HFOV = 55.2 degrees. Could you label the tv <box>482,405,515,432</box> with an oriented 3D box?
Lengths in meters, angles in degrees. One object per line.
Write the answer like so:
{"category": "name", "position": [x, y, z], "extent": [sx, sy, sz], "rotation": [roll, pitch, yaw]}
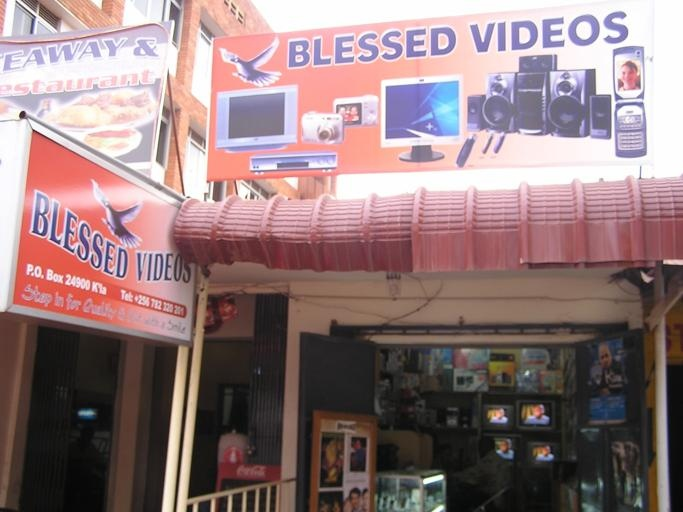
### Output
{"category": "tv", "position": [3.790, 3.906, 15.813], "extent": [0.823, 0.754, 0.501], "rotation": [-1, -19, 13]}

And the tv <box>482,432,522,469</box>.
{"category": "tv", "position": [3.805, 4.652, 15.548], "extent": [0.981, 0.694, 0.572], "rotation": [-5, -39, 18]}
